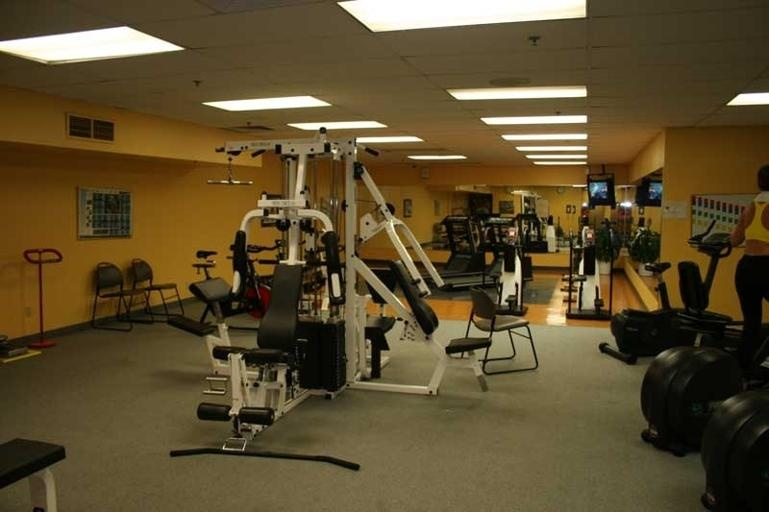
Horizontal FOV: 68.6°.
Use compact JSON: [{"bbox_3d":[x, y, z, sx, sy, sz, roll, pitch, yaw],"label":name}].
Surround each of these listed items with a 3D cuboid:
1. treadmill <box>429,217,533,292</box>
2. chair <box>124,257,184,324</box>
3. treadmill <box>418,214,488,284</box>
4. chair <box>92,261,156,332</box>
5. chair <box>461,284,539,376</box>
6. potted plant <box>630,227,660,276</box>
[{"bbox_3d":[2.166,-0.107,12.434,1.271,1.929,3.613,-1,-3,26],"label":"treadmill"},{"bbox_3d":[-3.824,0.510,9.425,0.743,0.976,0.632,1,2,-4],"label":"chair"},{"bbox_3d":[1.625,-0.223,12.979,1.465,1.378,0.957,9,0,-32],"label":"treadmill"},{"bbox_3d":[-4.127,0.603,8.908,0.834,0.992,0.817,0,4,-22],"label":"chair"},{"bbox_3d":[1.498,0.926,7.250,0.907,0.979,0.784,1,3,-5],"label":"chair"},{"bbox_3d":[5.213,-0.097,11.241,0.681,0.833,0.685,3,-7,-13],"label":"potted plant"}]
